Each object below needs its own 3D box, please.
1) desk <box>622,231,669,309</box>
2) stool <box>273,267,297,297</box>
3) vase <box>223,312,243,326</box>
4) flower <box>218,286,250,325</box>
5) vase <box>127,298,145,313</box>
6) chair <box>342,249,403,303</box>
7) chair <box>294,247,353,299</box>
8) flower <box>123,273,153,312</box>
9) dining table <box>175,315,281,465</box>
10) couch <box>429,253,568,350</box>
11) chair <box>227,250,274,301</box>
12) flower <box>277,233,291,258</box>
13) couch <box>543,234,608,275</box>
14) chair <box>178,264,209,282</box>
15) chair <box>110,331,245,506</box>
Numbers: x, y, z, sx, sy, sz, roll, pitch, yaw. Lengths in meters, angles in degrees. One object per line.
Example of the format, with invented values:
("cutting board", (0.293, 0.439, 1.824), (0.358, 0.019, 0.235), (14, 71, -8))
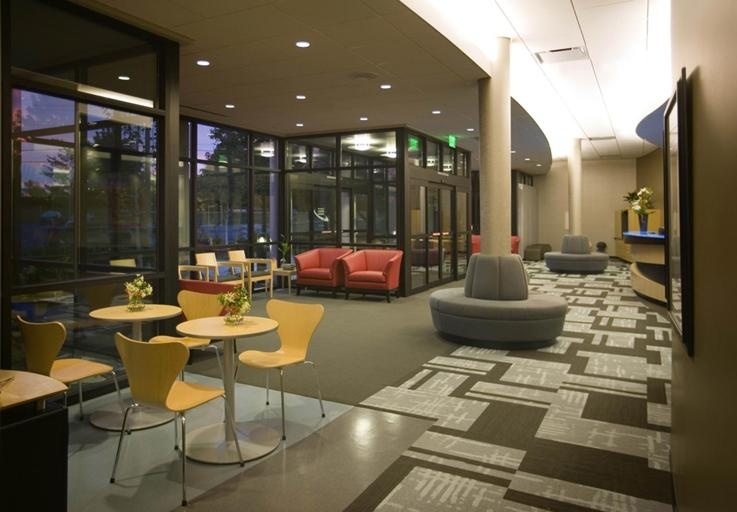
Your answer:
("desk", (5.825, 0.311, 10.580), (0.941, 0.862, 1.798), (2, 2, 27))
("stool", (-2.063, 0.706, 12.452), (0.541, 0.611, 0.831), (0, 1, 16))
("vase", (-1.290, 0.599, 4.815), (0.120, 0.106, 0.122), (1, -4, 5))
("flower", (-1.342, 0.481, 4.884), (0.358, 0.367, 0.313), (3, -8, -35))
("vase", (-2.500, 0.510, 5.439), (0.204, 0.193, 0.201), (1, 0, -40))
("chair", (0.072, 0.389, 11.180), (1.182, 1.009, 0.987), (3, 9, 27))
("chair", (-1.024, 0.319, 11.789), (1.308, 1.286, 1.058), (0, -2, 27))
("flower", (-2.619, 0.396, 5.644), (0.340, 0.420, 0.319), (4, 5, 19))
("dining table", (-1.283, 1.225, 4.802), (1.122, 1.269, 1.117), (0, 5, 4))
("couch", (1.830, 0.741, 7.218), (1.942, 1.168, 1.314), (0, -2, 33))
("chair", (-2.495, 0.370, 11.453), (1.039, 1.461, 1.129), (1, 3, 32))
("flower", (-2.163, -0.262, 12.682), (0.338, 0.600, 0.243), (1, 8, 13))
("couch", (6.748, 0.032, 16.283), (1.382, 0.949, 1.534), (-1, -1, 33))
("chair", (-3.383, 0.318, 9.647), (0.380, 0.538, 0.359), (0, 0, 20))
("chair", (-1.574, 1.217, 4.130), (0.772, 1.239, 0.554), (5, 9, 33))
